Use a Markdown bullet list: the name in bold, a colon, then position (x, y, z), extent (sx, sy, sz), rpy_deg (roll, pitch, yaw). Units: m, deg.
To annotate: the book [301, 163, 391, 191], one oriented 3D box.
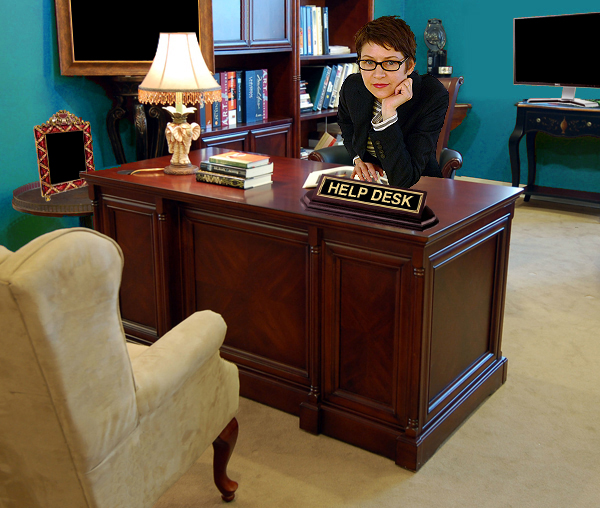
- **book**: position (0.141, -0.373, 2.351), extent (0.204, 0.056, 0.225), rpy_deg (13, 23, 34)
